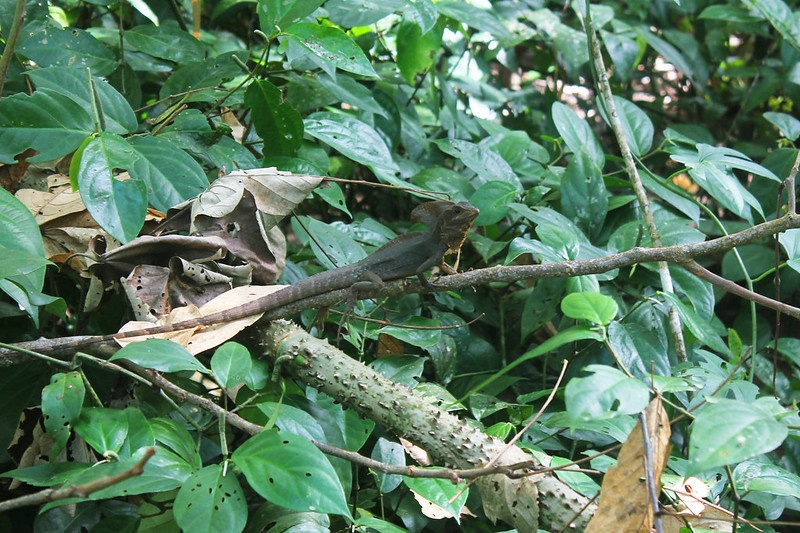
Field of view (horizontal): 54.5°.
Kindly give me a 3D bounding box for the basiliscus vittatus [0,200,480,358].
[{"bbox_3d":[-0.751,0.068,3.482,1.567,0.306,0.269,-17,32,-20],"label":"basiliscus vittatus"}]
